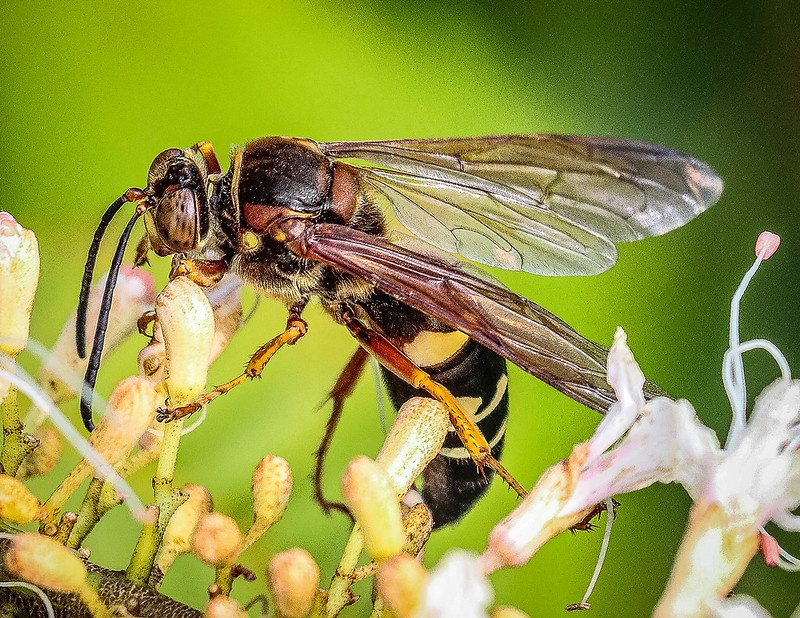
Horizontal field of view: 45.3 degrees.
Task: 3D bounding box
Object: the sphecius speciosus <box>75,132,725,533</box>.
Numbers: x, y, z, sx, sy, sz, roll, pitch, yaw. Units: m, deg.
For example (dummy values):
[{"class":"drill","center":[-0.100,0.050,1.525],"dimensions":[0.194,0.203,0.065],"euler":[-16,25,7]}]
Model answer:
[{"class":"sphecius speciosus","center":[0.027,-0.031,1.593],"dimensions":[0.676,0.764,0.730],"euler":[9,17,1]}]
